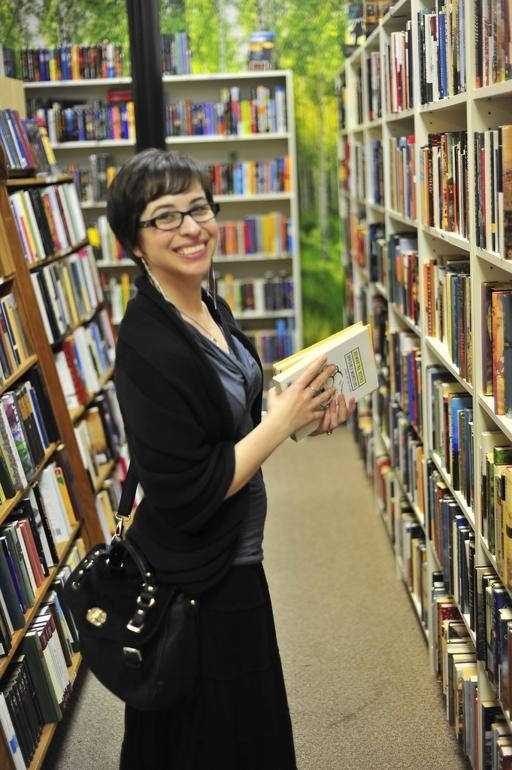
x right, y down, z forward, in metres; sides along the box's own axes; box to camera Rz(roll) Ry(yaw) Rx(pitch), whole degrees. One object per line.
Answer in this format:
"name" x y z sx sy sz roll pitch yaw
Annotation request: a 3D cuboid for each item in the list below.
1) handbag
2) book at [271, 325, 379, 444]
"handbag" -0.191 0.331 0.774 0.223 0.222 0.071 0 5 31
"book" 0.120 -0.036 1.013 0.046 0.206 0.200 37 54 26
